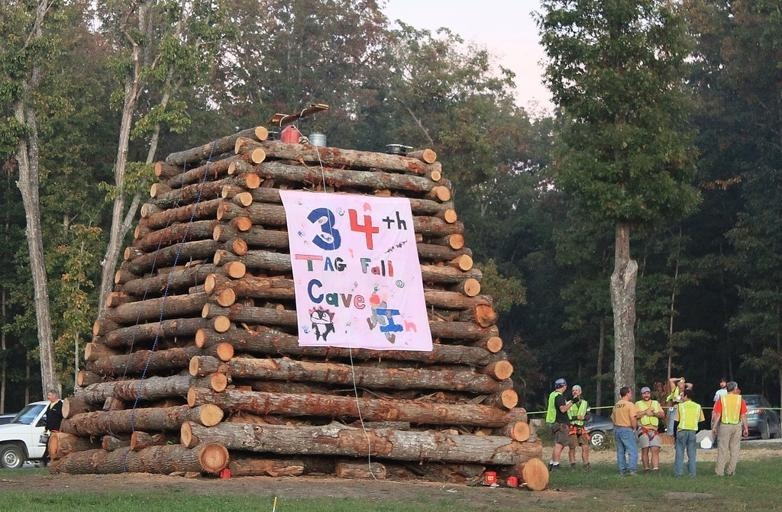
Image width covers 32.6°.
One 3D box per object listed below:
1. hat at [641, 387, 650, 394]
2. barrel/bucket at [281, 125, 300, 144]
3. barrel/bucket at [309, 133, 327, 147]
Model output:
[{"bbox_3d":[9.347,4.785,49.189,0.309,0.287,0.527,-4,-17,9],"label":"hat"},{"bbox_3d":[-3.710,-4.508,49.569,0.695,0.636,0.691,1,-7,0],"label":"barrel/bucket"},{"bbox_3d":[-2.732,-4.341,49.731,0.559,0.518,0.551,0,-1,0],"label":"barrel/bucket"}]
